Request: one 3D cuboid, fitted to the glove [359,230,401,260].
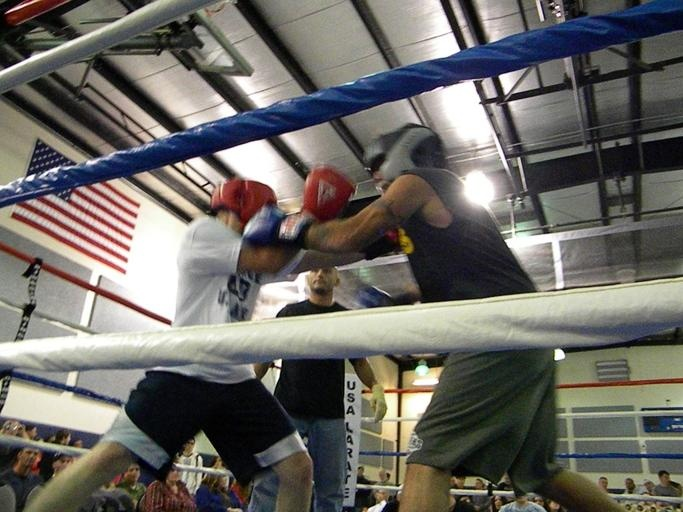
[{"bbox_3d":[0.107,-0.034,1.406,0.043,0.036,0.140,56,-29,-2],"label":"glove"}]

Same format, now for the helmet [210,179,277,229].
[{"bbox_3d":[-0.318,-0.187,1.642,0.230,0.134,0.161,25,7,14],"label":"helmet"}]

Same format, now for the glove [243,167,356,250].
[{"bbox_3d":[-0.106,-0.127,1.463,0.140,0.313,0.207,-27,-68,42],"label":"glove"}]

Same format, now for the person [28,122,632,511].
[{"bbox_3d":[0.300,0.147,1.417,1.134,1.090,0.391,23,-35,-20],"label":"person"}]
